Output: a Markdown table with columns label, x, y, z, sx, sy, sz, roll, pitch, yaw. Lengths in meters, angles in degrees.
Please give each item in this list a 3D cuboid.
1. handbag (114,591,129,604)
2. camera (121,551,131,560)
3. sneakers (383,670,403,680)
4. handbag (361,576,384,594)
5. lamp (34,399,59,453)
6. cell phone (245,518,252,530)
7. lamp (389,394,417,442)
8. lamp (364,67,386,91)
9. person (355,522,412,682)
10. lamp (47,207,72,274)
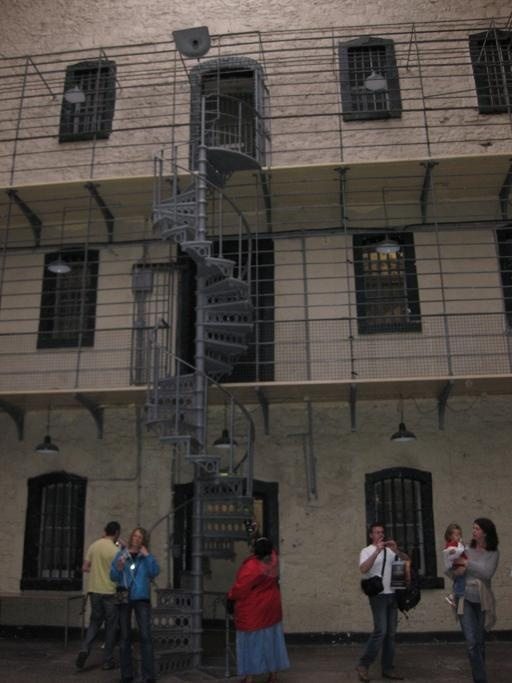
| label | x | y | z | sx | sy | sz | roll | pitch | yaw |
| --- | --- | --- | --- | --- | --- | --- | --- | --- | --- |
| handbag | -1.346 | 2.546 | 8.886 | 0.174 | 0.137 | 0.089 | -2 | -24 | 0 |
| camera | -1.313 | 2.135 | 8.928 | 0.092 | 0.072 | 0.024 | -9 | 4 | -6 |
| sneakers | 1.381 | 3.392 | 9.093 | 0.236 | 0.082 | 0.075 | -6 | -11 | 22 |
| handbag | 1.137 | 2.423 | 8.823 | 0.255 | 0.202 | 0.173 | -9 | -16 | 24 |
| lamp | -2.916 | 1.215 | 12.428 | 0.315 | 0.712 | 0.892 | 1 | -15 | -12 |
| cell phone | -0.076 | 2.078 | 10.078 | 0.032 | 0.090 | 0.100 | 6 | 5 | -30 |
| lamp | 1.889 | 0.987 | 11.696 | 0.331 | 0.646 | 0.824 | -5 | -14 | 9 |
| lamp | 1.717 | -3.743 | 12.978 | 0.323 | 0.250 | 0.305 | -4 | -14 | 9 |
| person | 1.263 | 2.629 | 8.995 | 0.588 | 1.536 | 0.677 | -3 | -15 | 3 |
| lamp | -2.722 | -1.406 | 12.434 | 0.255 | 0.789 | 0.259 | 4 | -2 | 41 |
